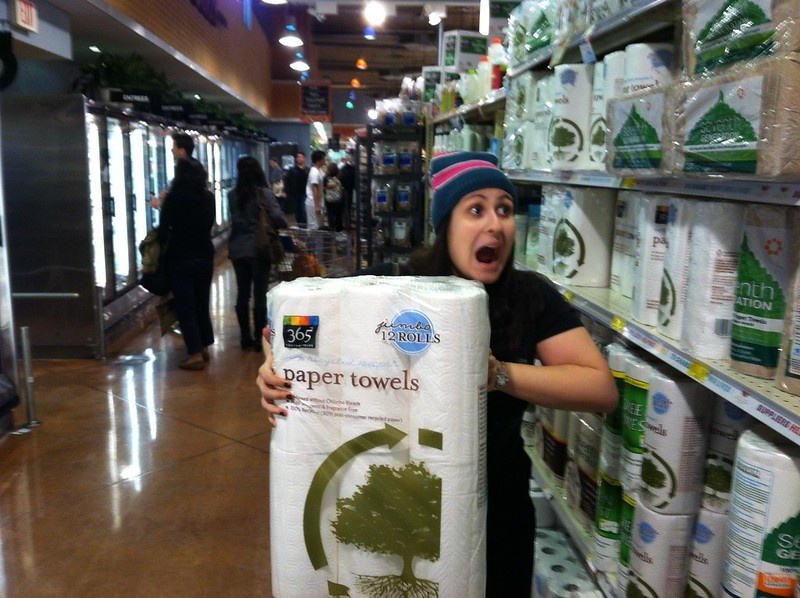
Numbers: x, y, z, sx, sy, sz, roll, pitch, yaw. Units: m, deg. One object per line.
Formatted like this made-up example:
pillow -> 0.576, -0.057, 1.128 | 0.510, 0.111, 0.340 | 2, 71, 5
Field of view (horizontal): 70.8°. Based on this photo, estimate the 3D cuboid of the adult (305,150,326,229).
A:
adult -> -2.076, -2.573, 13.538 | 0.616, 0.850, 2.369 | -6, -27, -10

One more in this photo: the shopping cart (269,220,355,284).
shopping cart -> -2.065, -0.995, 11.057 | 1.807, 0.856, 2.185 | 11, 12, 42

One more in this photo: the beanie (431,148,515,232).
beanie -> 0.191, -0.334, 1.723 | 0.212, 0.207, 0.272 | -9, 7, -31

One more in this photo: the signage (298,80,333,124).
signage -> -3.273, -7.697, 21.827 | 1.356, 1.368, 1.128 | 4, 17, 9

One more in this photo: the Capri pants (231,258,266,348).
Capri pants -> -1.682, -0.090, 6.194 | 0.355, 1.221, 0.293 | 0, 4, 4

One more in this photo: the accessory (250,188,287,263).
accessory -> -1.460, -0.818, 5.965 | 0.211, 0.776, 0.308 | -8, 0, -6

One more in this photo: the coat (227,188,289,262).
coat -> -1.581, -0.866, 6.104 | 0.692, 0.753, 0.480 | 10, 24, 25

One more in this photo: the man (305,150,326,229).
man -> -2.076, -2.573, 13.538 | 0.616, 0.850, 2.369 | -6, -27, -10
